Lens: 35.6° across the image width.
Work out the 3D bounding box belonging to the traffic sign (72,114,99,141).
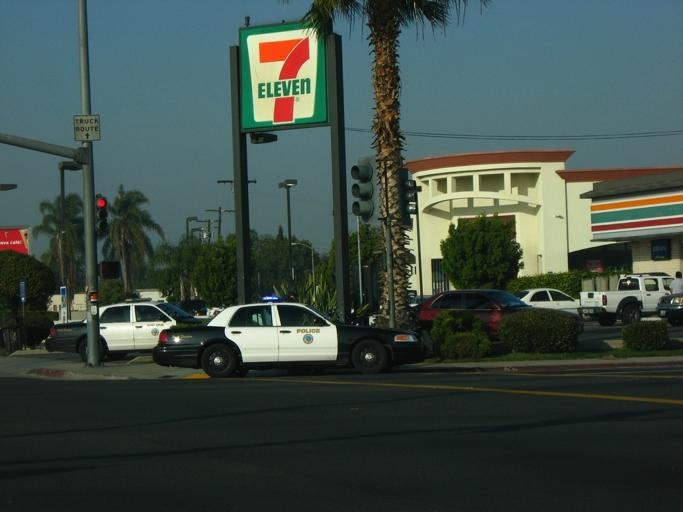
[{"bbox_3d":[-6.975,-3.461,28.950,0.647,0.748,0.307,-1,5,-7],"label":"traffic sign"}]

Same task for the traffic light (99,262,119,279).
[{"bbox_3d":[-6.563,0.395,29.873,0.538,0.507,0.803,-2,5,-16],"label":"traffic light"}]

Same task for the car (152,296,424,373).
[{"bbox_3d":[-1.312,2.143,26.494,5.955,1.891,2.466,-2,-3,2],"label":"car"}]

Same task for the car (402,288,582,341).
[{"bbox_3d":[4.151,1.304,31.971,4.596,1.644,2.090,-9,-6,25],"label":"car"}]

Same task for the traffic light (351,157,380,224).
[{"bbox_3d":[0.503,-1.598,26.204,0.565,1.605,0.538,-1,5,-10],"label":"traffic light"}]

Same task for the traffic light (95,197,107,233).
[{"bbox_3d":[-6.845,-1.179,30.106,0.316,1.050,1.362,-2,5,-13],"label":"traffic light"}]
